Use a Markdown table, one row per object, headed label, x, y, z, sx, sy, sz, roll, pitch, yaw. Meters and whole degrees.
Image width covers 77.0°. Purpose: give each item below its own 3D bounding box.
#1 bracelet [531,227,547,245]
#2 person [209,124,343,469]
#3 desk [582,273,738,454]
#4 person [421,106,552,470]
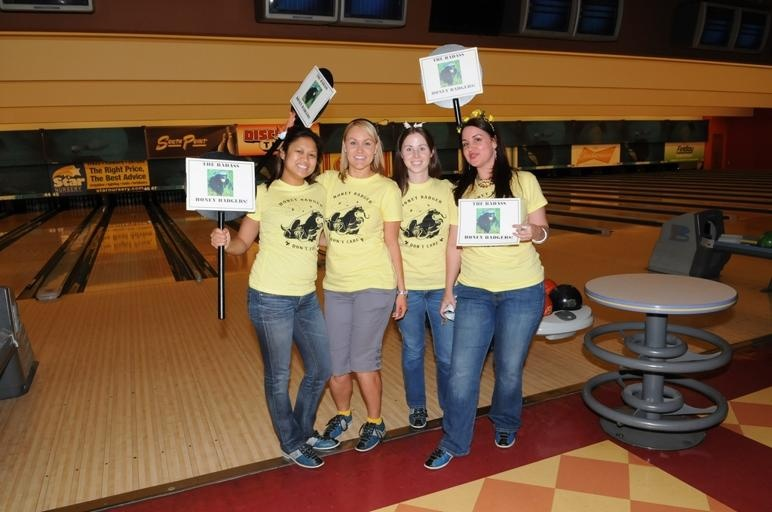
| label | x | y | z | sx | sy | sz | roll | pitch | yaw |
| --- | --- | --- | --- | --- | --- | --- | --- | --- | --- |
| bracelet | 0.790 | -0.084 | 2.505 | 0.074 | 0.043 | 0.096 | 0 | 8 | 1 |
| person | -0.473 | 0.200 | 2.520 | 0.474 | 1.508 | 0.500 | 11 | 21 | 34 |
| desk | 1.497 | 0.523 | 2.696 | 0.694 | 0.726 | 0.724 | 2 | 8 | 24 |
| person | 0.537 | 0.176 | 2.486 | 0.531 | 1.535 | 0.640 | 5 | 18 | 18 |
